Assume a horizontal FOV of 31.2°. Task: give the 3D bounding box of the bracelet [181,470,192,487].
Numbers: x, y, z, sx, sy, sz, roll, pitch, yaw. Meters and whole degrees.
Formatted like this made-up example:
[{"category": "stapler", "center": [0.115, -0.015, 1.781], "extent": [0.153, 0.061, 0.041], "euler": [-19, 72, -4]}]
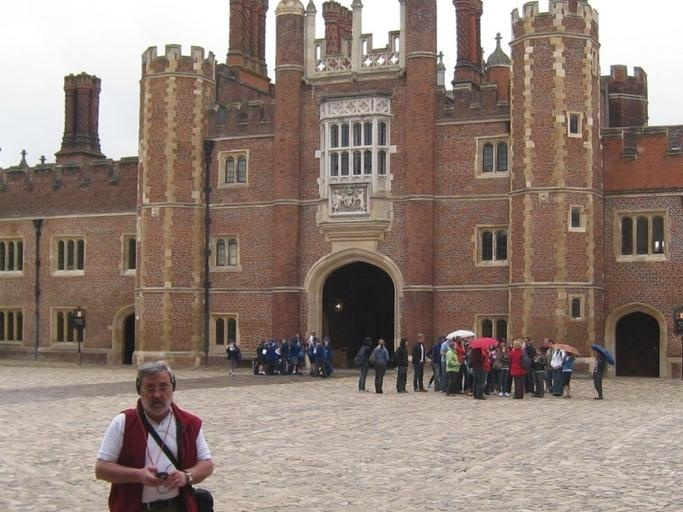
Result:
[{"category": "bracelet", "center": [-2.122, 3.133, 16.968], "extent": [0.129, 0.192, 0.200], "euler": [2, -9, -32]}]
